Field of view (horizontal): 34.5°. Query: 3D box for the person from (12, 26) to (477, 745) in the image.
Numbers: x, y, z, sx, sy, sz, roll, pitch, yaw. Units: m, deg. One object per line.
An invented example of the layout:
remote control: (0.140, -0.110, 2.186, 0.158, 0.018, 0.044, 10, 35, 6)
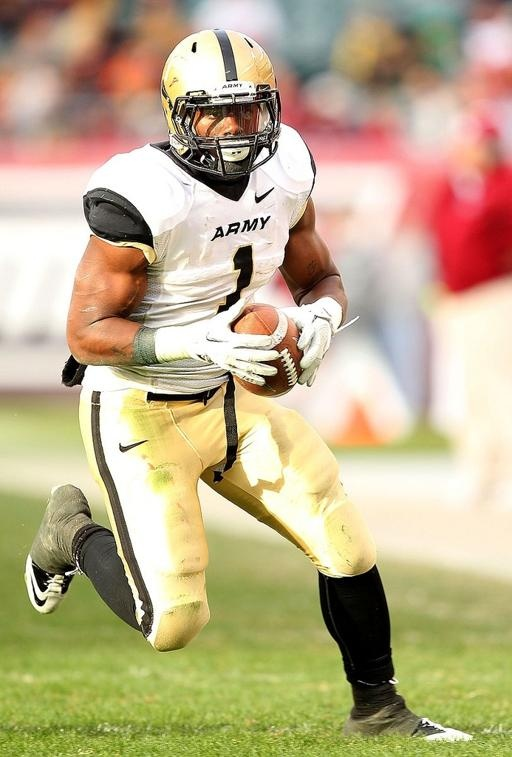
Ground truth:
person: (-0.089, 0.016, 1.778, 0.822, 1.519, 0.816, -2, 17, -14)

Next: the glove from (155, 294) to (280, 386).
glove: (-0.080, -0.081, 1.612, 0.243, 0.143, 0.084, 3, 16, 3)

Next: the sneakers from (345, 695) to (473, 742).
sneakers: (0.317, 0.727, 1.799, 0.295, 0.103, 0.091, -3, -10, 14)

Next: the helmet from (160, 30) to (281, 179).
helmet: (-0.071, -0.591, 1.769, 0.248, 0.320, 0.252, 1, 16, -5)
